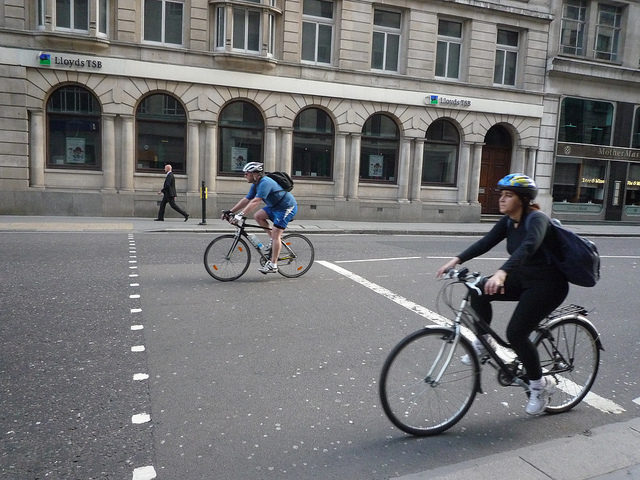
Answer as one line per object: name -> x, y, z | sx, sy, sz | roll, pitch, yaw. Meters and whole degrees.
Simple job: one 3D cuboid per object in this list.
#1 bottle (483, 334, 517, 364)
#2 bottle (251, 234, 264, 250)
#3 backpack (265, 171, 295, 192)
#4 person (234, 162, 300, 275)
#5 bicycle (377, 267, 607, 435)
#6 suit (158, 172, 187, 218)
bottle -> 1.904, 1.161, 6.666 | 0.147, 0.175, 0.583 | 33, 0, 34
bottle -> -1.139, -0.031, 11.567 | 0.229, 0.052, 0.210 | 52, 3, -4
backpack -> -0.758, -1.064, 11.636 | 0.489, 0.224, 0.312 | 34, 17, 2
person -> -0.940, -0.354, 11.581 | 1.002, 2.071, 0.670 | 0, 9, -5
bicycle -> 1.890, 1.134, 6.603 | 2.398, 1.674, 0.974 | -3, 8, -11
suit -> -4.858, -1.450, 20.616 | 0.800, 1.484, 1.530 | -2, 10, -15
